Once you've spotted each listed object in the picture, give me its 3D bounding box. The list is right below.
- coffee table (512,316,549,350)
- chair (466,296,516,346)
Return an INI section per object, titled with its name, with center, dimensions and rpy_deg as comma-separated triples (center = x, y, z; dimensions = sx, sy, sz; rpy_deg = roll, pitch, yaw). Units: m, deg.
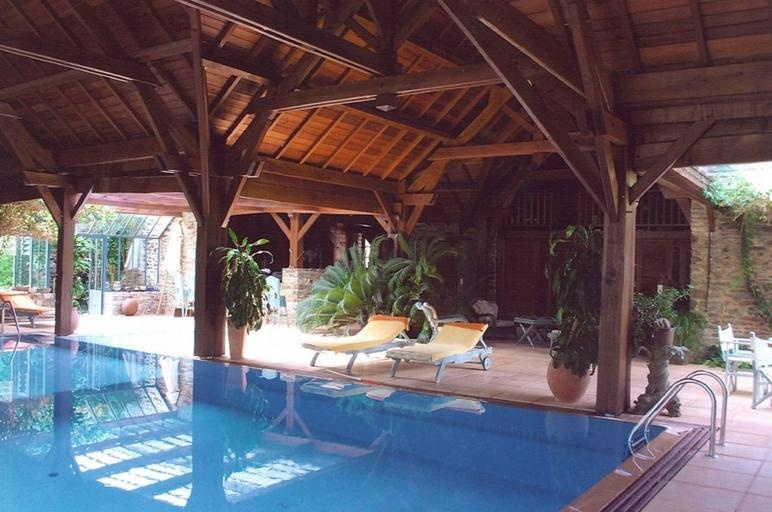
[coffee table]
center = 3.422, 1.791, 12.671
dimensions = 0.731, 0.615, 0.819
rpy_deg = 4, -5, -18
[chair]
center = 2.531, 1.571, 13.320
dimensions = 1.109, 1.290, 1.067
rpy_deg = 1, -1, -42
